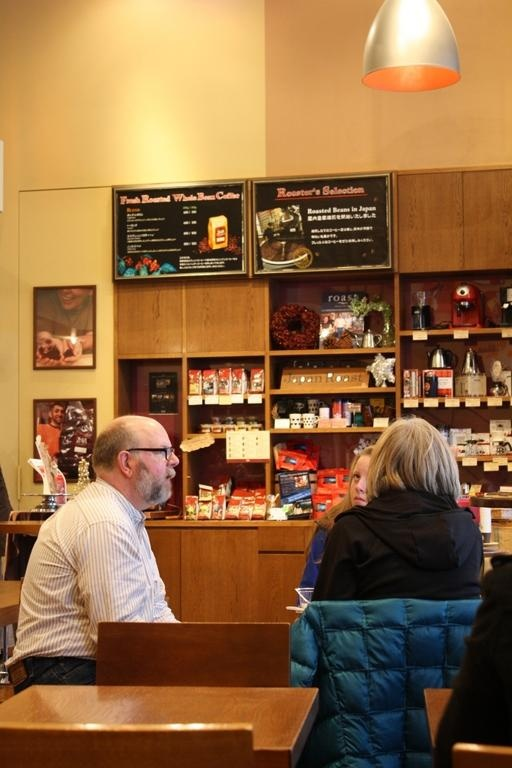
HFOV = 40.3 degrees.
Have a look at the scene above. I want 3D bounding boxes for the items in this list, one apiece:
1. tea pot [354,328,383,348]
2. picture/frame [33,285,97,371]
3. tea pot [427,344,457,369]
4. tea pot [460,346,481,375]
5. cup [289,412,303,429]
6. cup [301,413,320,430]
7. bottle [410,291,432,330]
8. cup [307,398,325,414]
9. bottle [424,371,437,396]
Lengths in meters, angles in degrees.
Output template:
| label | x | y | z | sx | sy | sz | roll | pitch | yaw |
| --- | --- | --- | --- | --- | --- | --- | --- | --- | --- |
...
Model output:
| label | x | y | z | sx | sy | sz | roll | pitch | yaw |
| --- | --- | --- | --- | --- | --- | --- | --- | --- | --- |
| tea pot | 0.806 | -0.335 | 4.993 | 0.164 | 0.119 | 0.114 | 2 | 0 | 20 |
| picture/frame | -1.480 | -0.431 | 5.443 | 0.659 | 0.877 | 0.031 | 0 | -3 | 4 |
| tea pot | 1.309 | -0.190 | 4.905 | 0.187 | 0.164 | 0.148 | 1 | 0 | 20 |
| tea pot | 1.480 | -0.167 | 4.850 | 0.175 | 0.194 | 0.174 | 0 | -5 | 0 |
| cup | 0.282 | 0.258 | 4.963 | 0.071 | 0.103 | 0.107 | -7 | -14 | 25 |
| cup | 0.379 | 0.248 | 4.958 | 0.122 | 0.117 | 0.081 | 6 | -10 | -40 |
| bottle | 1.184 | -0.537 | 4.994 | 0.146 | 0.278 | 0.324 | -4 | -1 | 14 |
| cup | 0.440 | 0.151 | 5.084 | 0.128 | 0.126 | 0.082 | 1 | -10 | 7 |
| bottle | 1.195 | -0.008 | 4.780 | 0.097 | 0.168 | 0.053 | -4 | -1 | 10 |
